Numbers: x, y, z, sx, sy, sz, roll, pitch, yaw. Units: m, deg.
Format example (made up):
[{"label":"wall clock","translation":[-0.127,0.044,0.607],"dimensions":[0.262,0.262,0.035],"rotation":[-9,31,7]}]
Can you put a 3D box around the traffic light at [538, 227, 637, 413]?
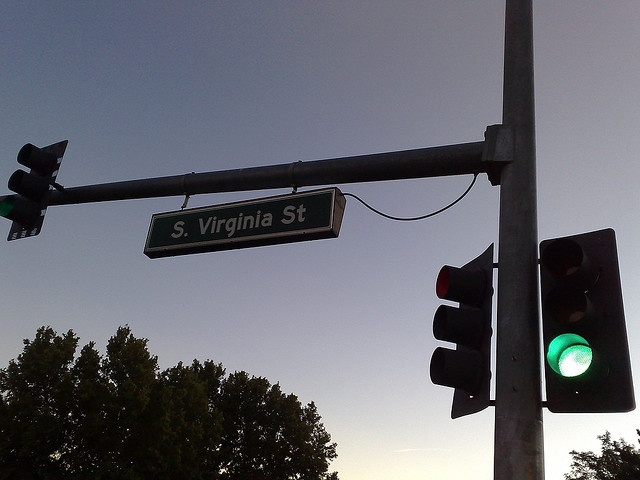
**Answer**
[{"label":"traffic light","translation":[1.876,0.574,4.138],"dimensions":[0.652,1.245,0.361],"rotation":[-11,-32,20]}]
